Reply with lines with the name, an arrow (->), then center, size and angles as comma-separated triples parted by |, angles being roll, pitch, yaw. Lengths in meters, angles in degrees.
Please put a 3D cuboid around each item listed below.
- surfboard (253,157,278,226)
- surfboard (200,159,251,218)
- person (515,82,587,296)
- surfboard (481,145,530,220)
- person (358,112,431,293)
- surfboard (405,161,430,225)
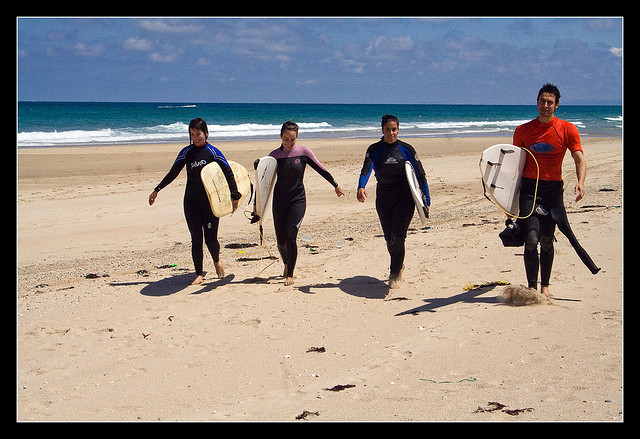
surfboard -> -0.694, -0.362, 7.058 | 0.295, 0.874, 0.385 | -7, 11, -17
surfboard -> -1.377, -0.367, 7.136 | 0.541, 0.755, 0.128 | -14, 4, -39
person -> 2.502, -0.294, 6.035 | 0.725, 2.305, 0.843 | 1, 12, 23
surfboard -> 2.043, -0.424, 6.318 | 0.644, 0.746, 0.200 | -7, -2, -19
person -> 0.929, -0.205, 6.778 | 0.807, 2.141, 0.545 | 0, 11, 16
surfboard -> 1.165, -0.318, 6.599 | 0.254, 0.749, 0.357 | -2, 11, 9
